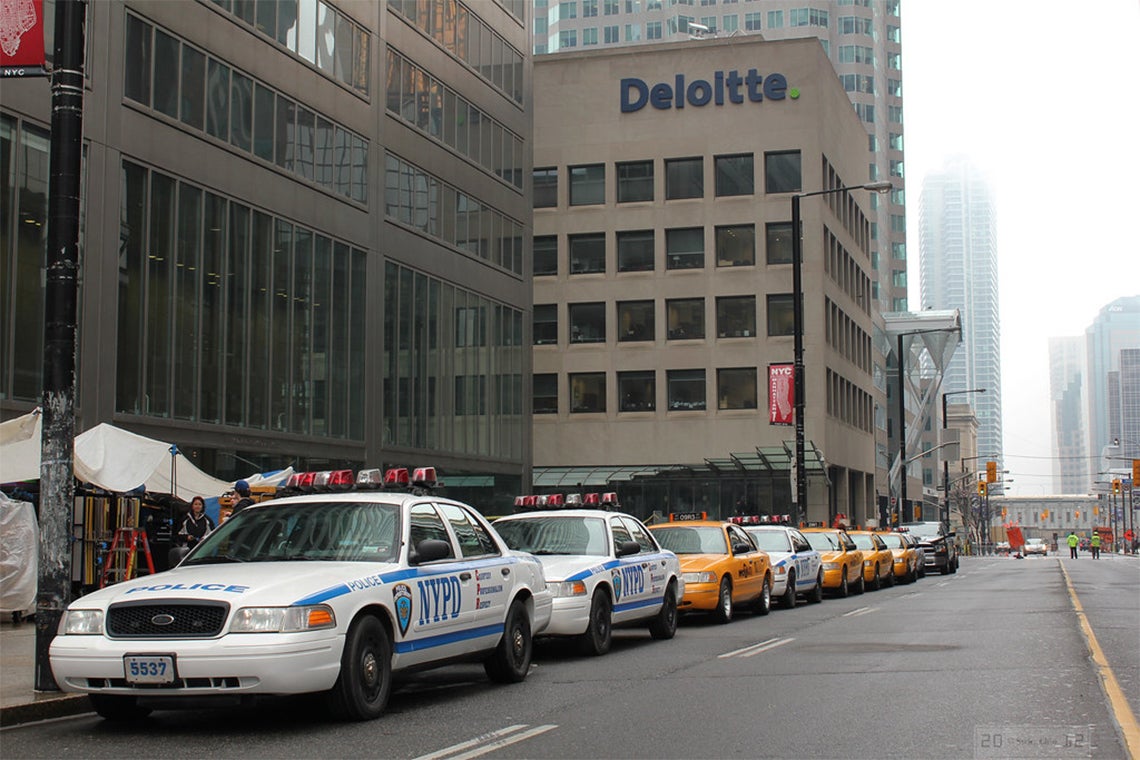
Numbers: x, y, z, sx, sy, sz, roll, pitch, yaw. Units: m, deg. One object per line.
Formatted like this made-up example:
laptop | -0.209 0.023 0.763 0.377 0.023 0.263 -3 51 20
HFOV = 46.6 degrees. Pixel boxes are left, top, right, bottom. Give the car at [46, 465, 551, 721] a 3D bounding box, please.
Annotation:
car | -3.048 2.691 15.986 2.394 2.731 5.710 -12 -13 44

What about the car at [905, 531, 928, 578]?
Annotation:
car | 12.246 6.075 46.345 1.015 1.070 2.380 -3 -15 12

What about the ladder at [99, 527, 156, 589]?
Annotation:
ladder | -8.201 3.270 24.654 0.667 1.144 0.704 2 3 25

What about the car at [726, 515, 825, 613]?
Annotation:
car | 4.633 4.209 29.752 1.683 1.429 4.027 -4 -12 16
